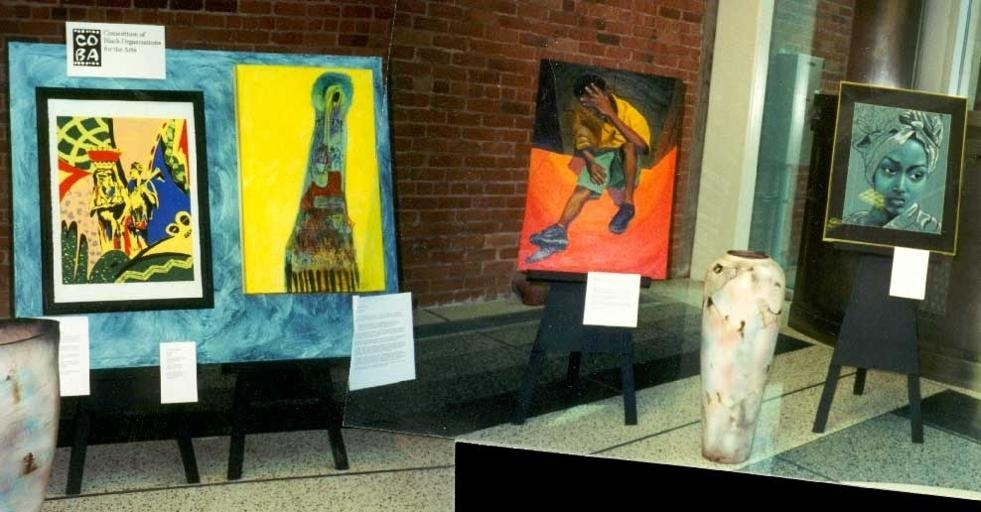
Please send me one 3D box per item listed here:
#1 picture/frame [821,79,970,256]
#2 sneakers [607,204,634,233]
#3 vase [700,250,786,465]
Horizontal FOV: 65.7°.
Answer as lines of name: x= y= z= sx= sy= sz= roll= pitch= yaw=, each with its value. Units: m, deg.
picture/frame: x=1.399 y=-0.322 z=2.588 sx=0.699 sy=0.691 sz=0.053 roll=4 pitch=5 yaw=1
sneakers: x=0.469 y=-0.133 z=2.702 sx=0.059 sy=0.122 sz=0.056 roll=42 pitch=4 yaw=4
vase: x=0.871 y=0.353 z=2.637 sx=0.274 sy=0.724 sz=0.174 roll=1 pitch=15 yaw=9
